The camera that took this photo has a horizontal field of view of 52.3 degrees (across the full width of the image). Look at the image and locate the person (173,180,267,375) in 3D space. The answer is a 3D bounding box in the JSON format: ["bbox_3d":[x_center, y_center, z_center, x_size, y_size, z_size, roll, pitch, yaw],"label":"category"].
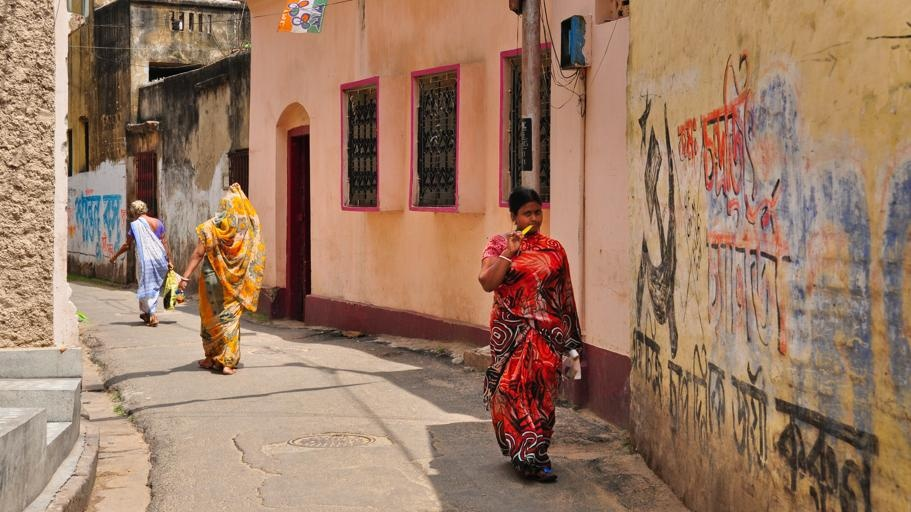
[{"bbox_3d":[-2.961,0.251,12.190,0.771,2.383,0.900,5,10,33],"label":"person"}]

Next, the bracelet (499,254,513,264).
[{"bbox_3d":[0.470,0.014,8.443,0.116,0.079,0.052,-2,8,-14],"label":"bracelet"}]

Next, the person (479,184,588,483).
[{"bbox_3d":[0.688,0.676,8.549,0.760,2.596,0.667,3,9,24],"label":"person"}]

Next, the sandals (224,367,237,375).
[{"bbox_3d":[-2.898,1.435,11.921,0.157,0.086,0.245,-2,8,-9],"label":"sandals"}]
